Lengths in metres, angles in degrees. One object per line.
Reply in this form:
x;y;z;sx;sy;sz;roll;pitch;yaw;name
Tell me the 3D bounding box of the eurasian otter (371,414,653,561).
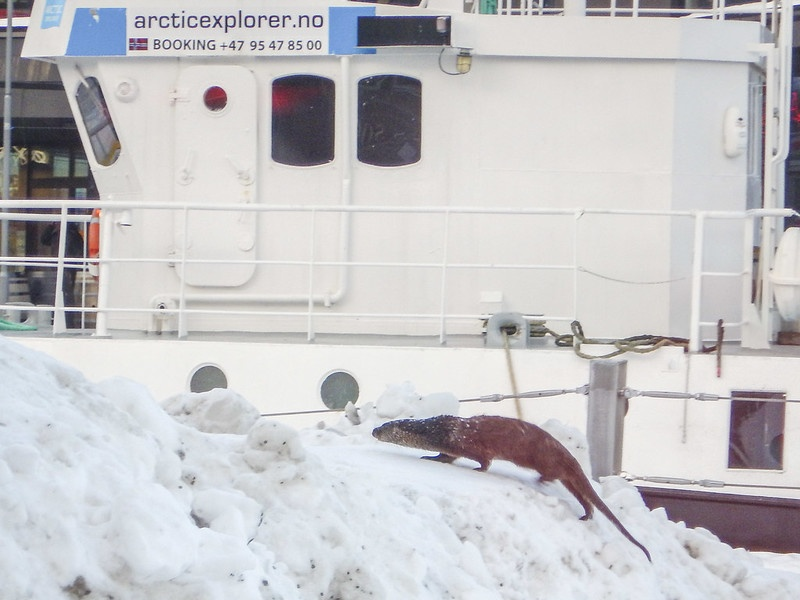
0.858;1.577;16.672;2.294;0.779;0.479;13;15;11;eurasian otter
